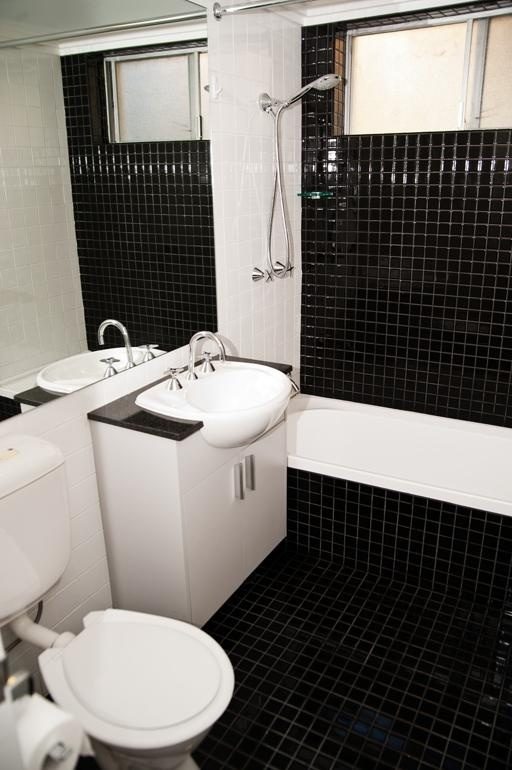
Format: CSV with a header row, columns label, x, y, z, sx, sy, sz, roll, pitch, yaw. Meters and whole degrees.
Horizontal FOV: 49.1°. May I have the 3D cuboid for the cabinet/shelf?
label,x,y,z,sx,sy,sz,roll,pitch,yaw
cabinet/shelf,-0.243,0.467,1.855,0.292,0.627,0.605,4,15,21
